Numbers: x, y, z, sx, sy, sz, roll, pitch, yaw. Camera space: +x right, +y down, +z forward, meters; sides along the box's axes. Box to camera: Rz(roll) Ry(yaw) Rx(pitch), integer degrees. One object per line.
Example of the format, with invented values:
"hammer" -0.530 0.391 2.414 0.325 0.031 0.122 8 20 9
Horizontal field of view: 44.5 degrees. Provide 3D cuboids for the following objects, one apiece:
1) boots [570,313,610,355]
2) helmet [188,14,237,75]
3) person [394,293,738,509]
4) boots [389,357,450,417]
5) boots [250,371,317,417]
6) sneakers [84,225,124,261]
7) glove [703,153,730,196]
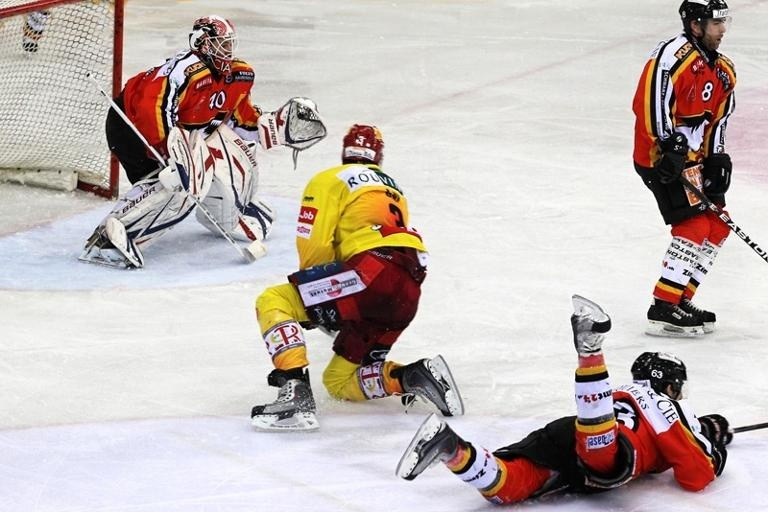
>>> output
"boots" 0.868 0.331 3.917 0.153 0.194 0.115 -1 12 9
"helmet" -1.217 -1.518 6.622 0.402 0.311 0.315 19 22 30
"person" 0.821 0.611 3.964 1.535 0.910 0.355 -6 12 -20
"boots" 0.200 0.618 4.662 0.271 0.143 0.463 -13 -36 5
"boots" -0.500 0.688 4.579 0.361 0.213 0.112 2 -13 -36
"sneakers" -1.958 -0.087 6.525 0.272 0.247 0.107 11 -2 -3
"glove" 2.144 -0.521 5.979 0.245 0.241 0.130 1 -12 22
